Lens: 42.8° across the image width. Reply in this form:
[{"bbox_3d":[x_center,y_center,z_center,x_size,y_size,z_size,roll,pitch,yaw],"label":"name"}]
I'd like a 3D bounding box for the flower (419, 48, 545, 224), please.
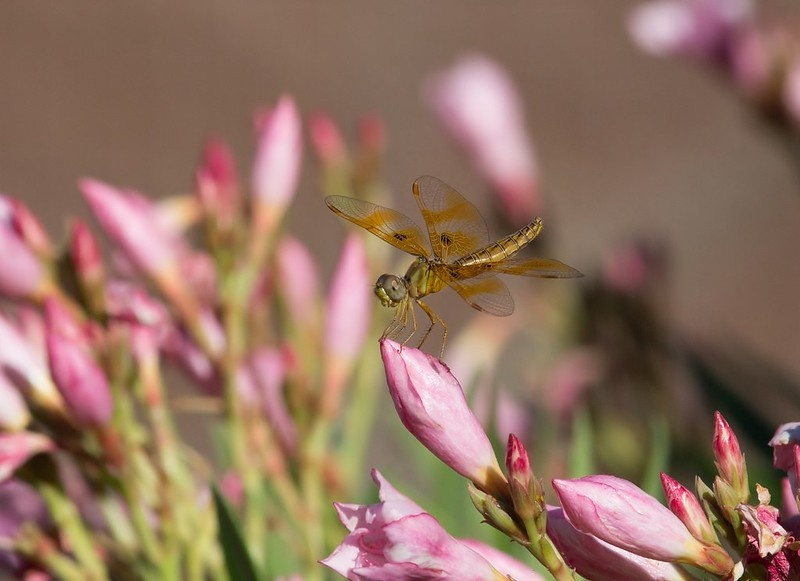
[{"bbox_3d":[0.086,-0.140,0.997,0.078,0.166,0.054,-26,-11,2],"label":"flower"}]

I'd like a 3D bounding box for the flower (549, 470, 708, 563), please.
[{"bbox_3d":[0.153,0.153,0.681,0.099,0.059,0.019,-13,3,-17],"label":"flower"}]

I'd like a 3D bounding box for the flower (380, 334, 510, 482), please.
[{"bbox_3d":[0.028,0.084,0.695,0.048,0.129,0.044,-47,3,16],"label":"flower"}]

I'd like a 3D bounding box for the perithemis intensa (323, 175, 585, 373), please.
[{"bbox_3d":[0.051,-0.031,0.864,0.154,0.125,0.230,-23,-10,20],"label":"perithemis intensa"}]
